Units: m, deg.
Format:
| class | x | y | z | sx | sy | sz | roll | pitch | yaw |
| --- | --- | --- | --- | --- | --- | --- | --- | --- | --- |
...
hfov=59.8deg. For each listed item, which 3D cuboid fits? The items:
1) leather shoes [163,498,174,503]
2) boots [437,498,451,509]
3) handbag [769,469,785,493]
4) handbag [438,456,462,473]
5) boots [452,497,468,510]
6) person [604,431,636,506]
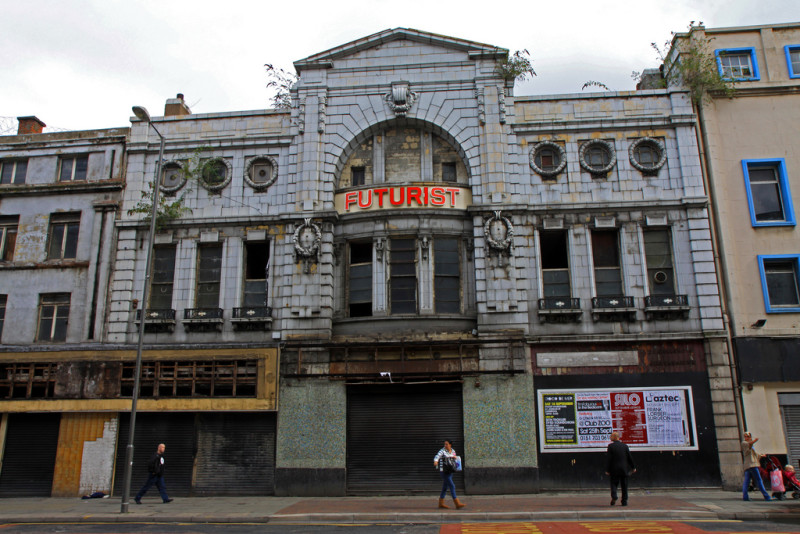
| class | x | y | z | sx | sy | sz | roll | pitch | yaw |
| --- | --- | --- | --- | --- | --- | --- | --- | --- | --- |
| leather shoes | -9.889 | 10.061 | 29.868 | 0.391 | 0.261 | 0.131 | -2 | -2 | -26 |
| boots | 1.729 | 9.381 | 27.646 | 0.432 | 0.373 | 1.208 | -2 | -12 | 3 |
| handbag | 15.108 | 8.586 | 27.890 | 0.425 | 0.900 | 0.483 | -8 | -15 | 29 |
| handbag | 1.943 | 7.859 | 27.702 | 0.843 | 0.580 | 0.468 | -1 | -13 | 0 |
| boots | 2.383 | 9.384 | 27.715 | 0.380 | 0.401 | 1.292 | -2 | -12 | 6 |
| person | 8.605 | 7.931 | 27.325 | 0.991 | 2.739 | 0.544 | -2 | -14 | 4 |
